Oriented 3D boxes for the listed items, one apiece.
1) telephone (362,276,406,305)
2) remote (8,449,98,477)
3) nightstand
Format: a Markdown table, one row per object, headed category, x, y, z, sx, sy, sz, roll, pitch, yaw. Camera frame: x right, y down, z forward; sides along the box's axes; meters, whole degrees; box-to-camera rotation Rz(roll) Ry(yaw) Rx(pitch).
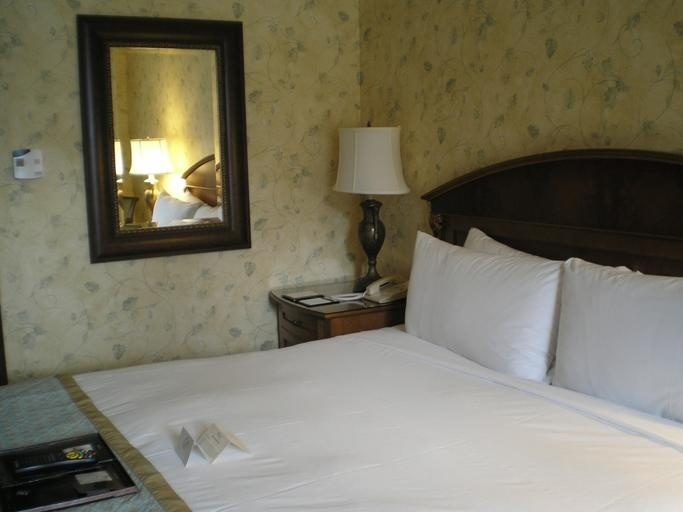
| category | x | y | z | sx | sy | sz | roll | pitch | yaw |
| --- | --- | --- | --- | --- | --- | --- | --- | --- | --- |
| telephone | 0.278 | 0.201 | 3.159 | 0.203 | 0.066 | 0.159 | -15 | 18 | -24 |
| remote | -0.896 | 0.634 | 1.652 | 0.181 | 0.040 | 0.094 | -4 | 12 | -30 |
| nightstand | -0.061 | 0.196 | 3.259 | 0.450 | 0.615 | 0.590 | 0 | 3 | -25 |
